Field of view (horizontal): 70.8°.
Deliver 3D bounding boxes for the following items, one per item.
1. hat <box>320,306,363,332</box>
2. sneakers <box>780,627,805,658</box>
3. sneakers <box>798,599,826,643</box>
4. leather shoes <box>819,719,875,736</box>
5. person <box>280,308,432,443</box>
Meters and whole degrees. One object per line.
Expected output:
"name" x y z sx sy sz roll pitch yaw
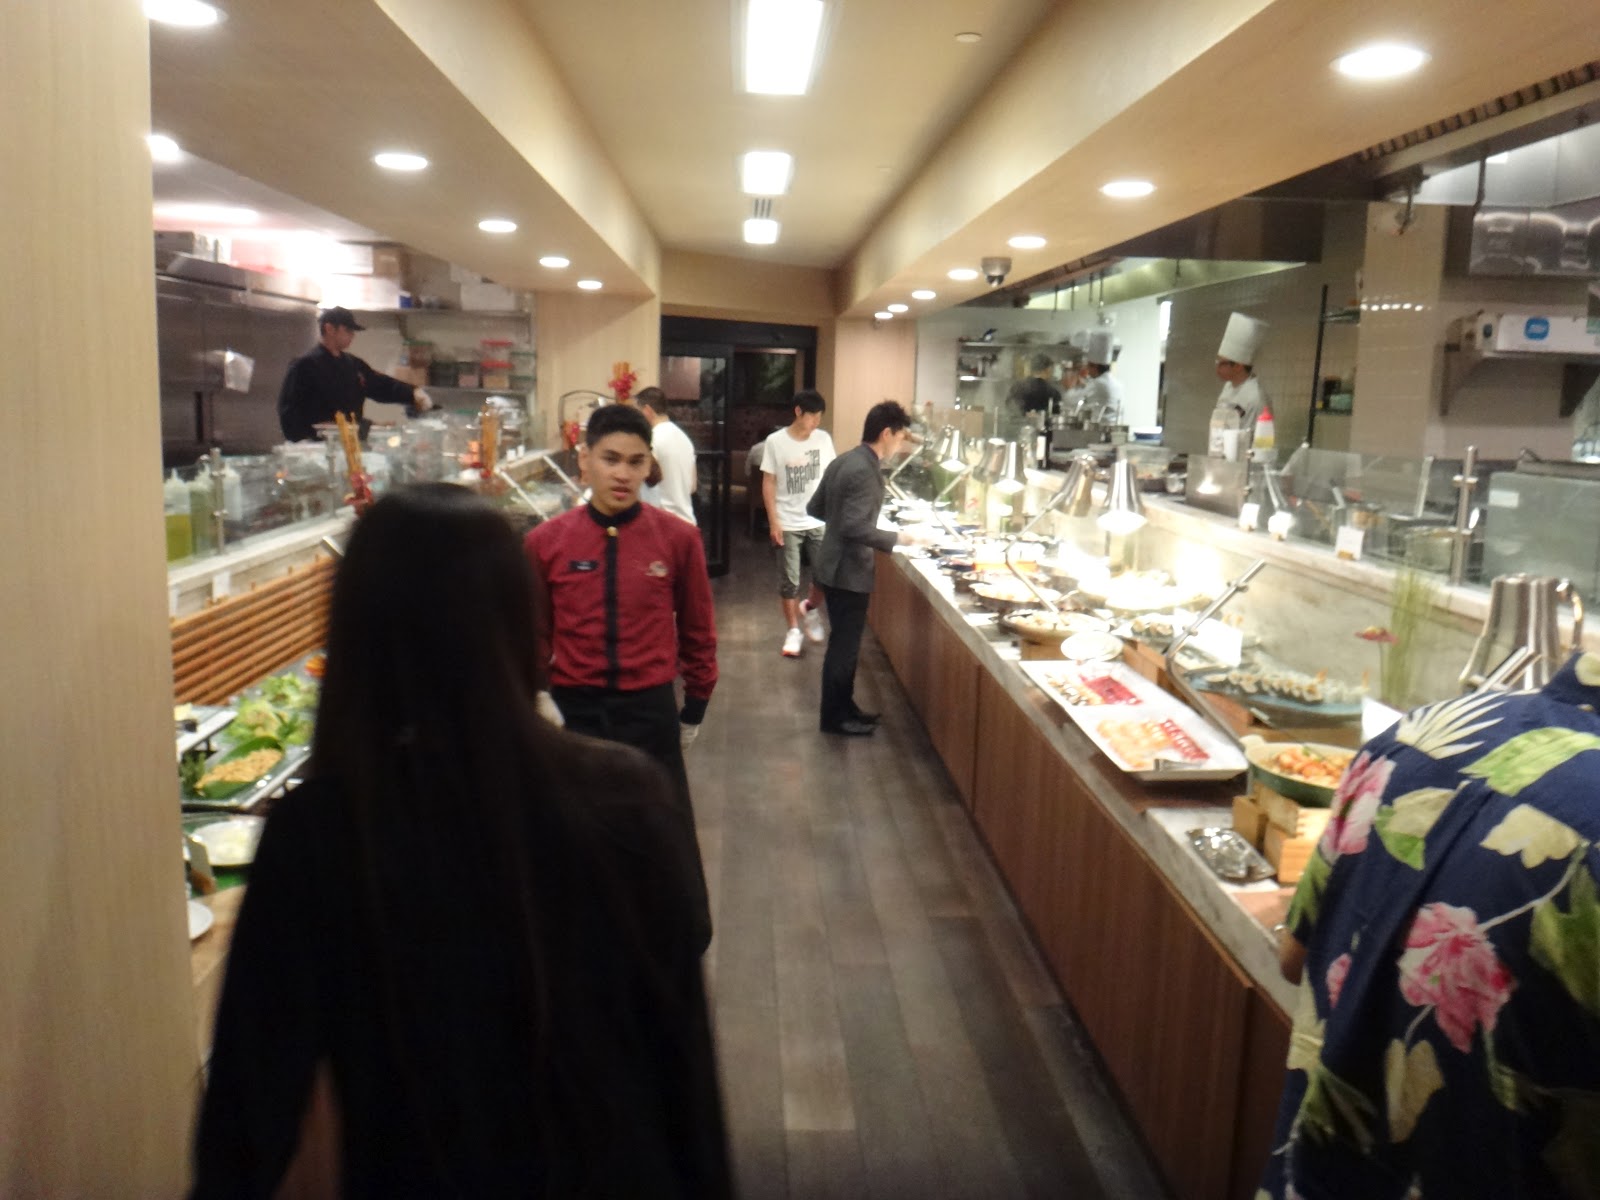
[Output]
"hat" -2.412 -1.493 5.934 0.123 0.129 0.420 -3 12 -15
"sneakers" -0.043 0.257 6.766 0.128 0.147 0.366 0 7 4
"sneakers" 0.079 0.104 7.047 0.113 0.127 0.296 -2 30 -12
"leather shoes" 0.220 0.561 5.196 0.234 0.104 0.085 -3 18 4
"person" -2.420 -1.214 5.955 0.696 0.688 1.020 -2 12 -8
